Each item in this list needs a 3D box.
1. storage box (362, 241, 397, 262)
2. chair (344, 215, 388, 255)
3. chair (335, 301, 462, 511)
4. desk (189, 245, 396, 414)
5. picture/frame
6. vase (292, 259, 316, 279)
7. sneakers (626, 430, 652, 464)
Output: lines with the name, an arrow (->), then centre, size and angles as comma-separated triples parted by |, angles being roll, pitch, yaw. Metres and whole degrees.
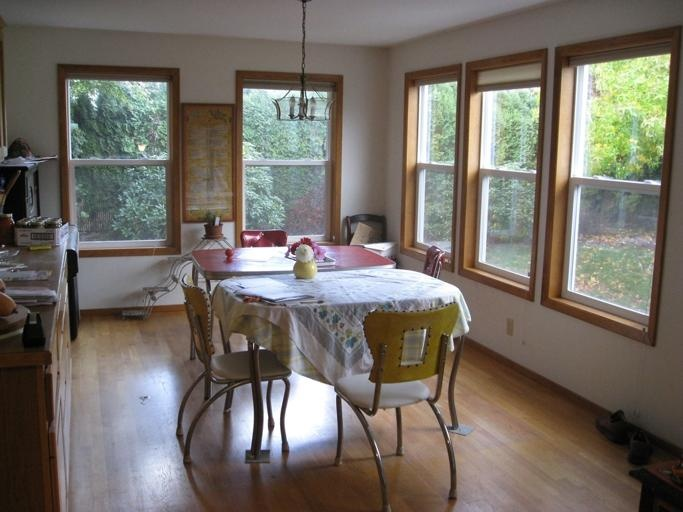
storage box -> 0.486, -0.079, 6.099 | 0.244, 0.132, 0.246 | 0, 9, -16
chair -> 0.313, -0.303, 6.359 | 0.371, 0.617, 0.422 | -2, 7, -17
chair -> 0.298, 0.741, 2.887 | 0.730, 1.074, 0.642 | 5, 13, 18
desk -> -0.592, 0.701, 4.623 | 1.593, 0.893, 1.224 | -3, 14, -16
picture/frame -> -1.469, -1.026, 5.811 | 0.563, 1.258, 0.180 | -1, 12, -6
vase -> -0.254, 0.086, 3.640 | 0.127, 0.120, 0.130 | 4, -7, 9
sneakers -> 1.847, 1.176, 3.295 | 0.098, 0.110, 0.276 | -5, 6, 21
